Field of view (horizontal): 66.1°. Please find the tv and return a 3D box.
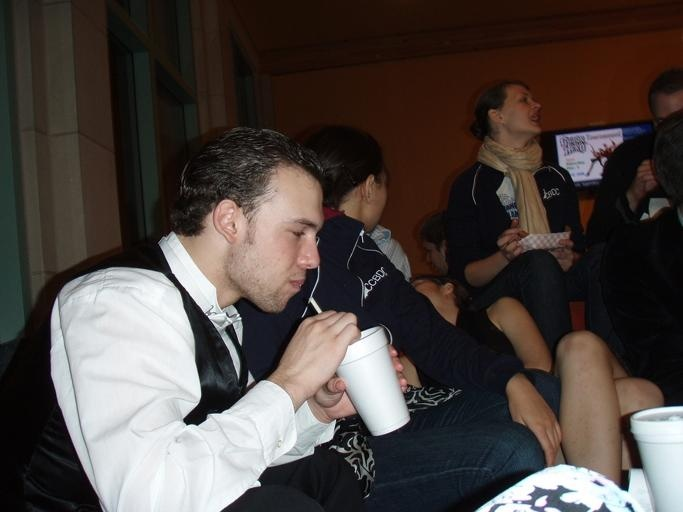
[{"bbox_3d":[2.174,-0.883,4.530,1.086,0.715,0.155,-4,-13,6],"label":"tv"}]
